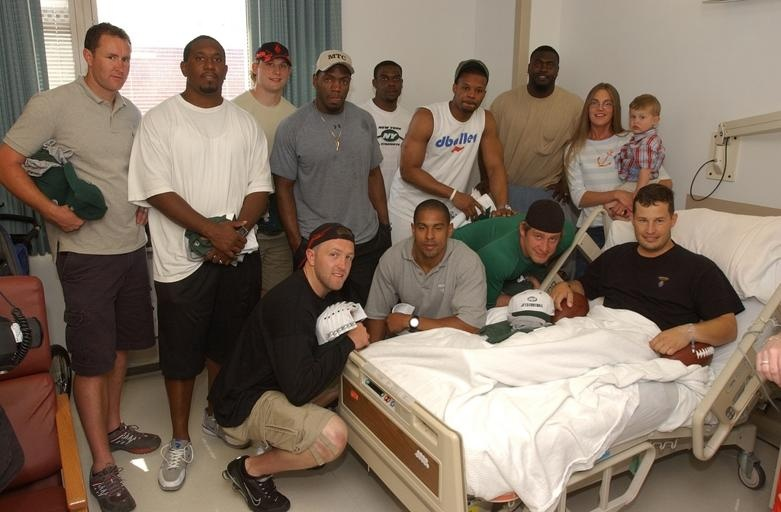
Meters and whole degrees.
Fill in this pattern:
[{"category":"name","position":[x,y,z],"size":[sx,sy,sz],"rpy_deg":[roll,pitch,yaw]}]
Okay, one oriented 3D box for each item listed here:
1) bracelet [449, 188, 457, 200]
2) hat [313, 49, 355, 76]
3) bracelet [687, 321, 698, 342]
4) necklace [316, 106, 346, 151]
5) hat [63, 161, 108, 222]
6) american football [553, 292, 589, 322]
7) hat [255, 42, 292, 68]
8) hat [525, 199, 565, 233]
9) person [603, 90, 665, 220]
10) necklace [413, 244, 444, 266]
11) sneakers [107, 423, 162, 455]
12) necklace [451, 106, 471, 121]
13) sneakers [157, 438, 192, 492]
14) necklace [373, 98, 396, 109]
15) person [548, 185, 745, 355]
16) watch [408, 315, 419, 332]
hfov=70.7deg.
[{"category":"bracelet","position":[0.479,-0.468,4.146],"size":[0.027,0.076,0.053],"rpy_deg":[20,-4,-11]},{"category":"hat","position":[-0.399,-1.373,3.893],"size":[0.243,0.152,0.249],"rpy_deg":[-5,19,-10]},{"category":"bracelet","position":[1.787,0.458,3.251],"size":[0.061,0.086,0.023],"rpy_deg":[16,6,41]},{"category":"necklace","position":[-0.409,-0.899,3.901],"size":[0.160,0.250,0.066],"rpy_deg":[4,-26,-19]},{"category":"hat","position":[-1.830,-0.393,3.332],"size":[0.321,0.127,0.236],"rpy_deg":[41,2,5]},{"category":"american football","position":[1.218,0.343,3.649],"size":[0.214,0.108,0.163],"rpy_deg":[-23,4,29]},{"category":"hat","position":[-0.902,-1.569,4.268],"size":[0.185,0.135,0.251],"rpy_deg":[-1,5,-26]},{"category":"hat","position":[1.045,-0.287,3.709],"size":[0.219,0.155,0.229],"rpy_deg":[11,22,9]},{"category":"person","position":[1.810,-0.725,4.114],"size":[0.389,1.115,0.638],"rpy_deg":[6,34,25]},{"category":"necklace","position":[0.249,0.008,3.565],"size":[0.125,0.125,0.165],"rpy_deg":[5,-14,7]},{"category":"sneakers","position":[-1.735,1.235,3.759],"size":[0.358,0.169,0.151],"rpy_deg":[5,15,-16]},{"category":"necklace","position":[0.546,-1.100,4.240],"size":[0.105,0.117,0.136],"rpy_deg":[4,-1,-6]},{"category":"sneakers","position":[-1.389,1.332,3.539],"size":[0.144,0.141,0.343],"rpy_deg":[5,13,-15]},{"category":"necklace","position":[-0.036,-1.338,4.875],"size":[0.110,0.064,0.145],"rpy_deg":[3,11,-8]},{"category":"person","position":[1.685,0.114,3.588],"size":[0.545,0.778,0.971],"rpy_deg":[-4,15,-33]},{"category":"watch","position":[0.150,0.424,3.463],"size":[0.061,0.098,0.089],"rpy_deg":[3,0,-7]}]
